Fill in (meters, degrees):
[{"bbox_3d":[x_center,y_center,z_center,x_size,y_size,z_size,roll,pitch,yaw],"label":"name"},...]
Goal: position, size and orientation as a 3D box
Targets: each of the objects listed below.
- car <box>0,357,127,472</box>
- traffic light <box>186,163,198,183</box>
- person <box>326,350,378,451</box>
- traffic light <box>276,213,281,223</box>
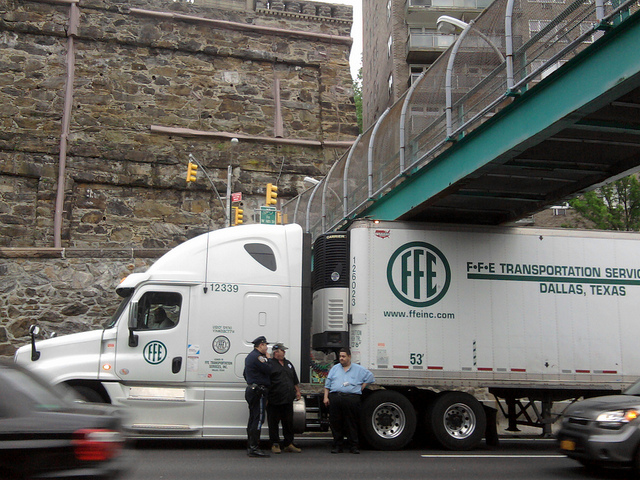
[{"bbox_3d":[-3.700,2.539,10.488,1.910,0.927,1.199,11,-20,-13],"label":"car"},{"bbox_3d":[-4.608,-2.373,26.982,0.341,0.632,1.126,5,-9,-11],"label":"traffic light"},{"bbox_3d":[0.554,3.269,15.367,0.890,2.015,0.391,3,-9,1],"label":"person"},{"bbox_3d":[-1.404,-0.707,25.046,0.055,0.337,0.406,-1,-2,21],"label":"traffic light"}]
